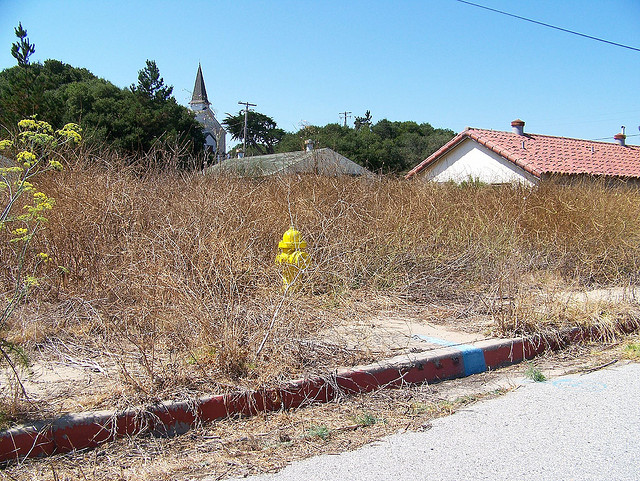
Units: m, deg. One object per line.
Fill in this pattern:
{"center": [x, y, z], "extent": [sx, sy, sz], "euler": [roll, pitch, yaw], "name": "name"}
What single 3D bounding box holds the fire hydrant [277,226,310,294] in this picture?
{"center": [-0.364, 0.292, 9.240], "extent": [0.421, 0.862, 0.398], "euler": [3, 10, 43], "name": "fire hydrant"}
